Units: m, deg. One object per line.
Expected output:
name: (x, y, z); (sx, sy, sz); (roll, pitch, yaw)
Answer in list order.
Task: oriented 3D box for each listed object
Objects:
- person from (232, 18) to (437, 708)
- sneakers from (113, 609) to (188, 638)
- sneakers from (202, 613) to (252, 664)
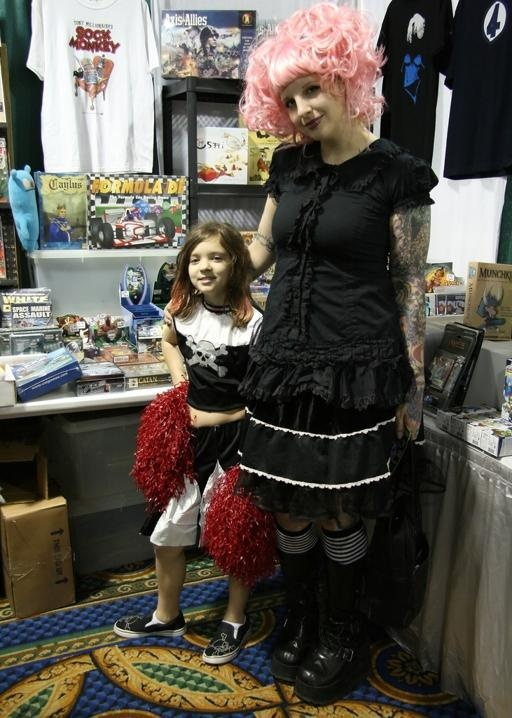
person: (0.162, 0.124, 1.053); (0.388, 1.459, 0.497); (-1, 4, -9)
sneakers: (-0.309, 0.782, 1.494); (0.210, 0.077, 0.079); (4, -7, -4)
sneakers: (-0.083, 0.798, 1.421); (0.058, 0.059, 0.148); (1, 2, 21)
